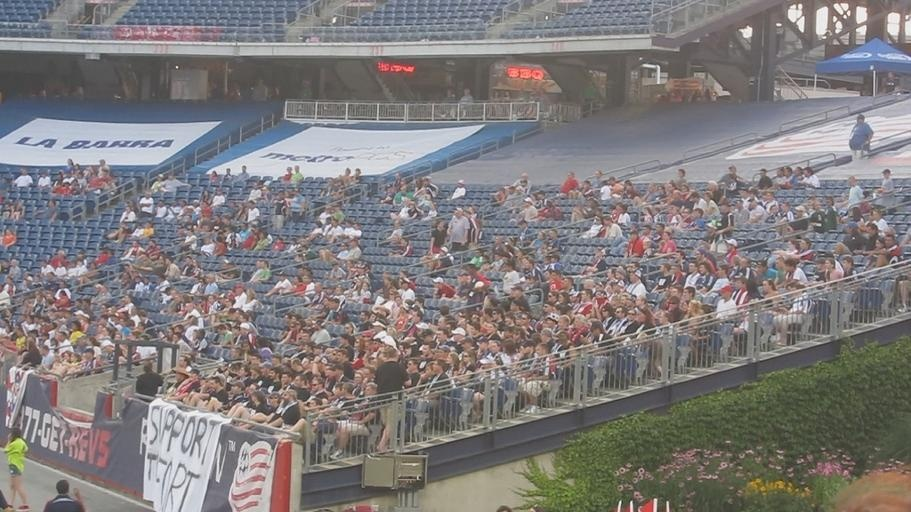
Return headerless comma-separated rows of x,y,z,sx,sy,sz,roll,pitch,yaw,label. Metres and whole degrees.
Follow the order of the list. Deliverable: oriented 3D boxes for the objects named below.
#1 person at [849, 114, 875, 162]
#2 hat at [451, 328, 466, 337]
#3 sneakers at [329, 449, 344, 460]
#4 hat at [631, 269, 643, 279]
13.823,-4.087,79.954,0.826,1.417,1.139,-2,8,9,person
0.200,2.319,72.590,0.374,0.170,0.257,18,-2,-7,hat
-3.456,5.945,70.370,0.174,0.171,0.466,7,5,41,sneakers
5.787,0.520,73.348,0.314,0.293,0.234,-36,37,-16,hat
